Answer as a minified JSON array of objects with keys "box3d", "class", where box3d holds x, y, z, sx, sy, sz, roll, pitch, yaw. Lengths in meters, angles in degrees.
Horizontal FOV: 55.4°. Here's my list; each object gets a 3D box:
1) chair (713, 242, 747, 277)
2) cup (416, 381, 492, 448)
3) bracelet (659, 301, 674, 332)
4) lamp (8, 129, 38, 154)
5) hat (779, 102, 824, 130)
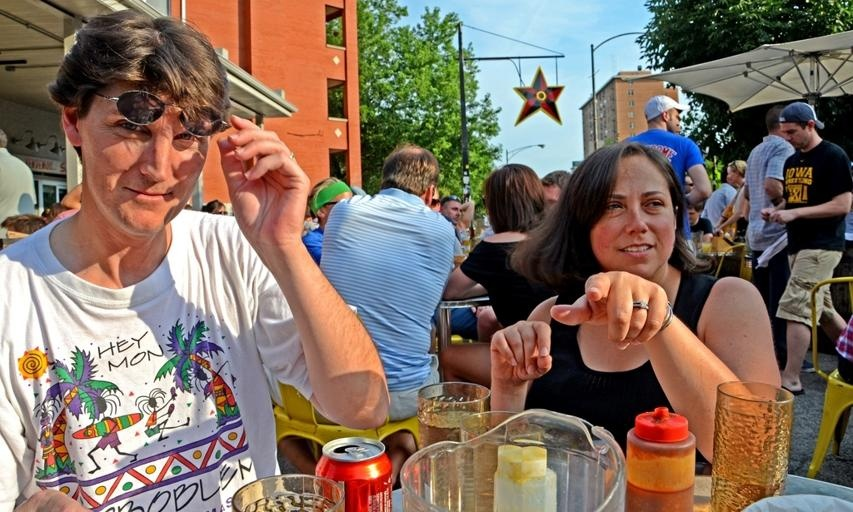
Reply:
[{"box3d":[3.421,0.054,9.170,0.343,0.395,0.289,-6,12,-28],"class":"chair"},{"box3d":[0.135,0.789,4.067,0.323,0.350,0.330,0,-5,0],"class":"cup"},{"box3d":[1.249,0.330,4.262,0.070,0.165,0.146,2,4,22],"class":"bracelet"},{"box3d":[-7.527,-2.105,15.166,0.414,0.284,0.241,0,4,7],"class":"lamp"},{"box3d":[3.635,-1.370,7.815,0.387,0.219,0.278,-16,18,-24],"class":"hat"}]
